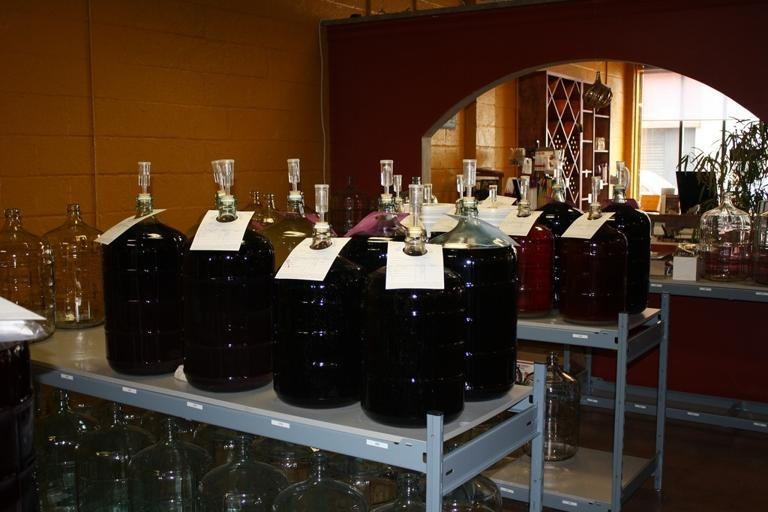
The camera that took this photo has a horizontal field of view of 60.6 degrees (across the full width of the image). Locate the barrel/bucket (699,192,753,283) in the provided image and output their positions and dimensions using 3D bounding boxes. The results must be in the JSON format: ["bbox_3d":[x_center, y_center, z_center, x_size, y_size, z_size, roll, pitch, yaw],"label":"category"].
[{"bbox_3d":[2.133,-0.119,4.064,0.303,0.494,0.291,-3,6,0],"label":"barrel/bucket"}]
